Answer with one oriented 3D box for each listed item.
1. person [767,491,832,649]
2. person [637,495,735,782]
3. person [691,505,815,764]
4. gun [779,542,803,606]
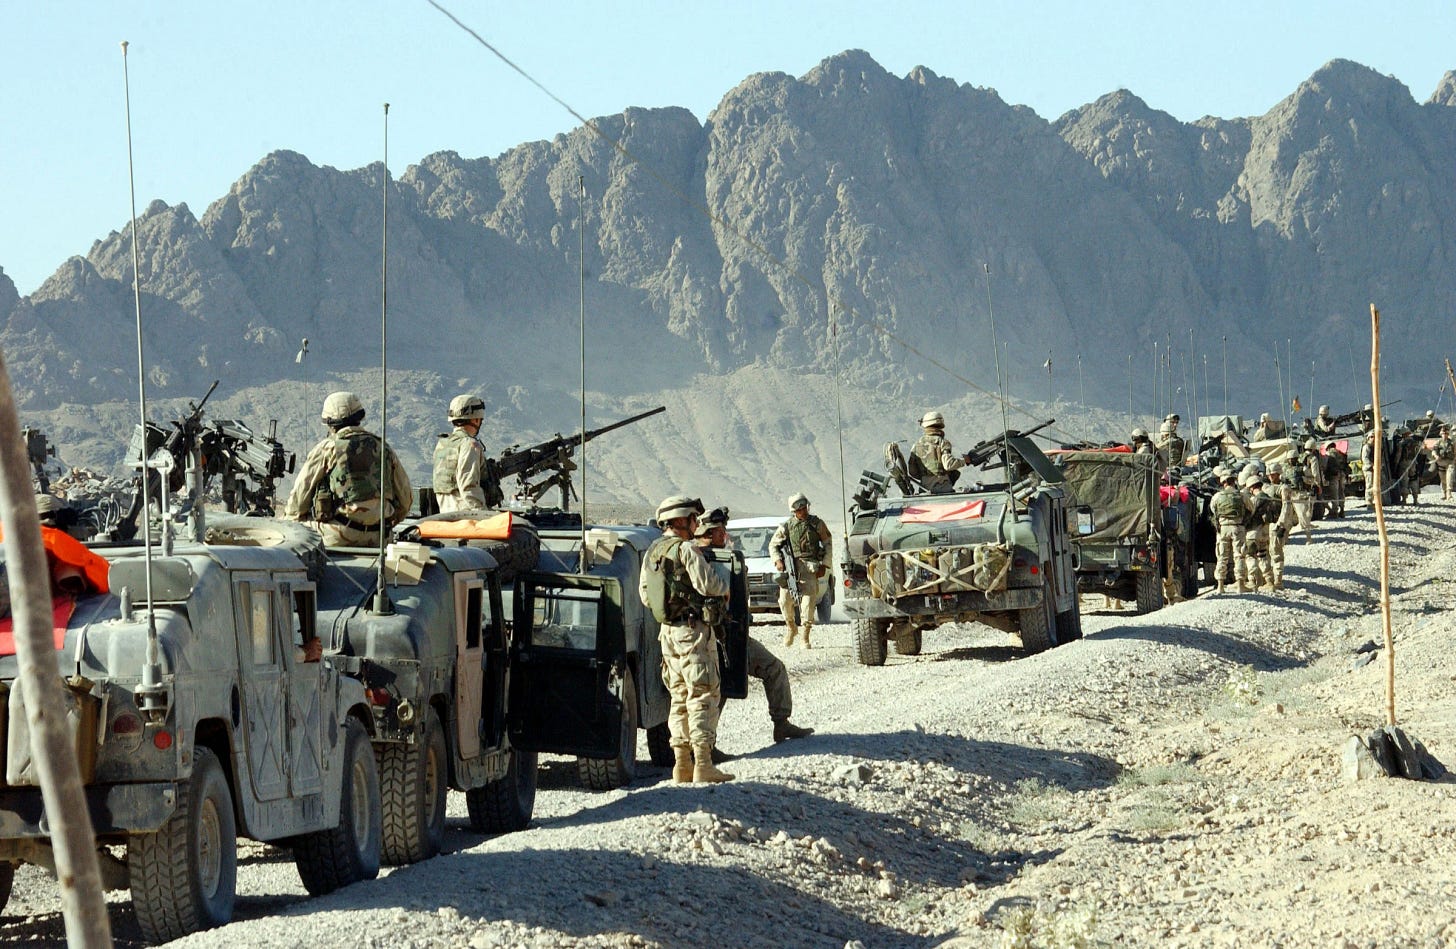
[{"bbox_3d":[1.261,1.615,36.065,0.807,2.496,1.287,0,0,-13],"label":"person"},{"bbox_3d":[-0.455,1.848,24.260,1.005,3.049,1.317,0,0,3],"label":"person"},{"bbox_3d":[0.159,1.884,25.730,1.354,2.887,0.875,-1,-9,-22],"label":"person"},{"bbox_3d":[1.035,1.596,35.705,0.125,1.073,0.354,-2,12,16],"label":"gun"}]
